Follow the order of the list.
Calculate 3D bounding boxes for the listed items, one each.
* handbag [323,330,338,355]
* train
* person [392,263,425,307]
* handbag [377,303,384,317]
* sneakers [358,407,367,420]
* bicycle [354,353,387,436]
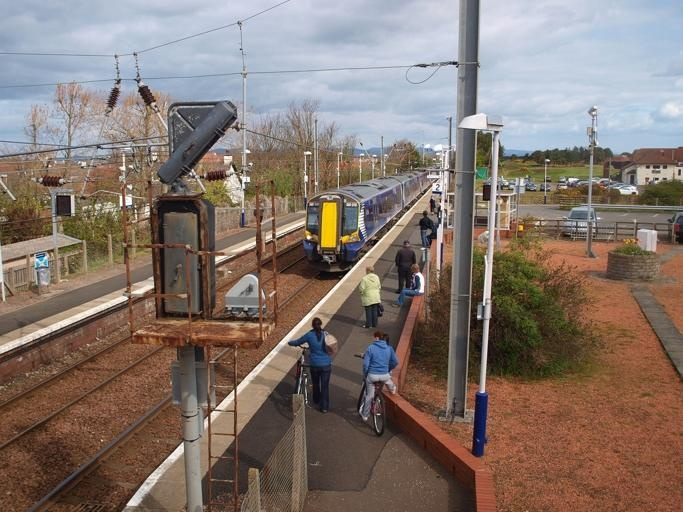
[{"bbox_3d":[-0.248,1.993,12.342,0.261,0.527,0.472,-1,10,-6],"label":"handbag"},{"bbox_3d":[2.169,-3.300,38.822,2.713,4.485,28.915,1,9,10],"label":"train"},{"bbox_3d":[2.315,1.050,19.100,0.799,1.514,1.850,1,10,4],"label":"person"},{"bbox_3d":[1.225,1.762,17.828,0.253,0.466,0.324,-4,39,-4],"label":"handbag"},{"bbox_3d":[0.459,3.488,12.250,0.086,0.252,0.175,-7,-6,1],"label":"sneakers"},{"bbox_3d":[0.642,2.976,12.205,0.640,1.496,1.163,0,10,1],"label":"bicycle"}]
